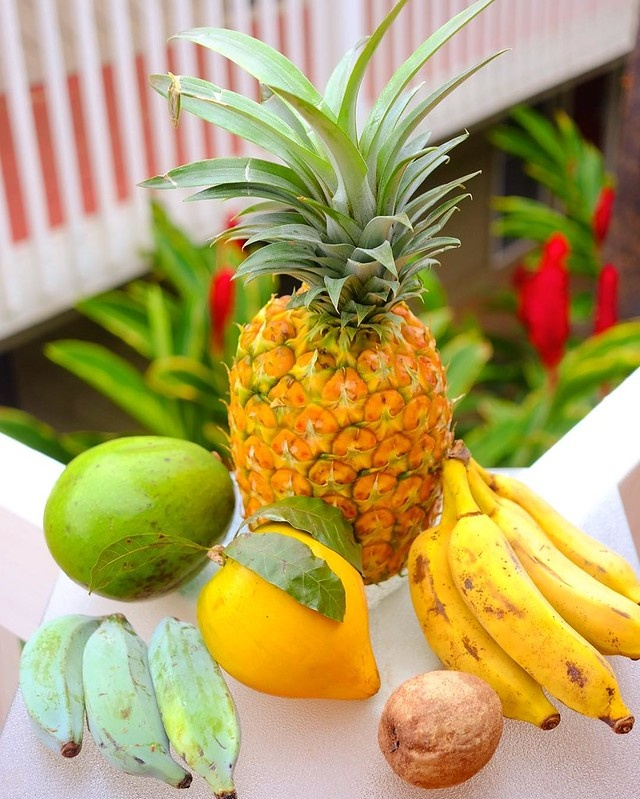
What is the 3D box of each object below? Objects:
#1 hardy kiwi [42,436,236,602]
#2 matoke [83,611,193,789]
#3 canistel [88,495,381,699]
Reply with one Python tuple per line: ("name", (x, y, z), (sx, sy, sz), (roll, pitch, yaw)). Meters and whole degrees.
("hardy kiwi", (-0.154, 0.095, 0.714), (0.172, 0.118, 0.120), (-4, 26, -27))
("matoke", (-0.142, 0.214, 0.558), (0.051, 0.048, 0.139), (-17, 41, -19))
("canistel", (-0.056, 0.164, 0.629), (0.259, 0.141, 0.131), (18, 18, 12))
